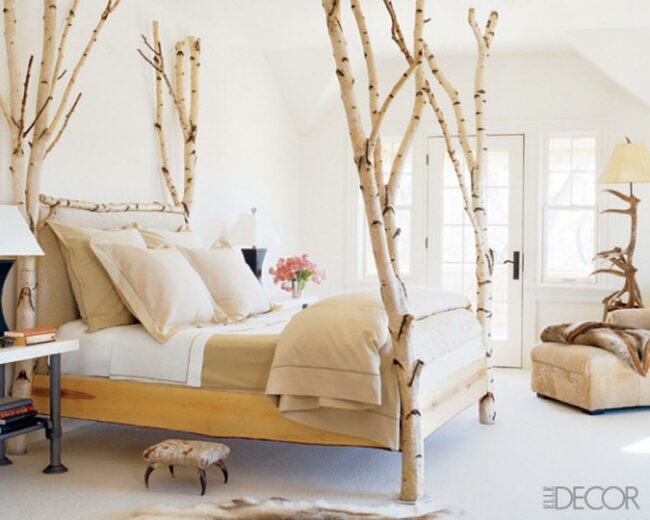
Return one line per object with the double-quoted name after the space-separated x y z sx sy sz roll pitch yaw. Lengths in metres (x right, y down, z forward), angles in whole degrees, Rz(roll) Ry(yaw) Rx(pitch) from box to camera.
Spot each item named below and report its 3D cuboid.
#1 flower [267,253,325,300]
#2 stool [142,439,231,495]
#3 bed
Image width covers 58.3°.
-0.304 0.134 5.520 0.431 0.402 0.454 1 -3 -29 "flower"
-0.737 1.065 3.155 0.473 0.262 0.406 1 3 5 "stool"
-0.293 0.107 4.841 3.069 3.940 2.774 -1 1 21 "bed"
